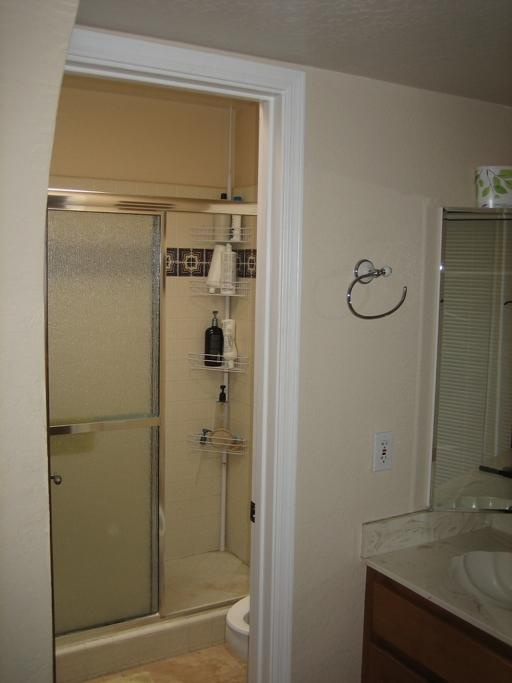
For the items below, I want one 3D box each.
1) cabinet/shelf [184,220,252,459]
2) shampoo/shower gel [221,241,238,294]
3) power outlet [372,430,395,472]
[{"bbox_3d":[-0.173,0.005,2.980,0.244,1.259,0.327,-1,3,-26],"label":"cabinet/shelf"},{"bbox_3d":[-0.137,-0.360,2.921,0.075,0.253,0.043,-2,3,-31],"label":"shampoo/shower gel"},{"bbox_3d":[0.357,0.309,1.648,0.076,0.107,0.013,-2,3,-38],"label":"power outlet"}]
